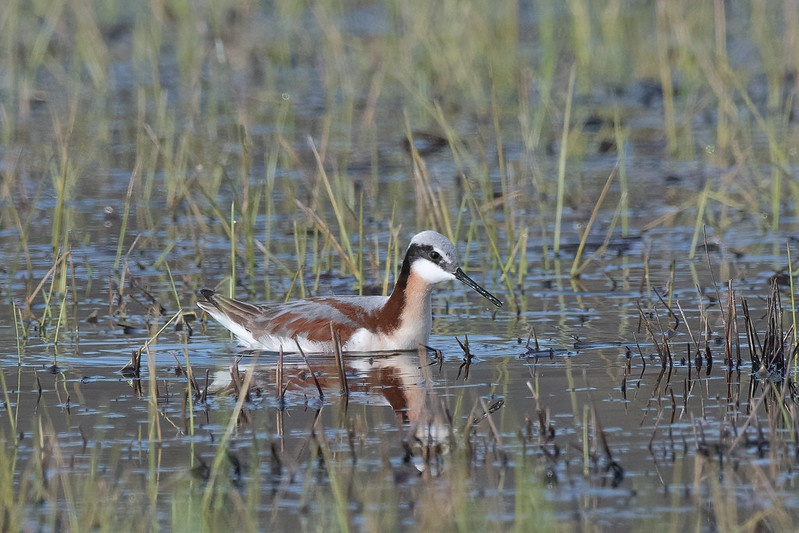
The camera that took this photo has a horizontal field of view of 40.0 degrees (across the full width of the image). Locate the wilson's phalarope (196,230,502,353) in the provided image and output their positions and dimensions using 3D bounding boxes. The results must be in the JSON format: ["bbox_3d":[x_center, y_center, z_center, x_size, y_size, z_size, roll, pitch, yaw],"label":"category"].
[{"bbox_3d":[-0.551,0.459,11.618,2.966,1.470,1.331,-1,103,-2],"label":"wilson's phalarope"}]
